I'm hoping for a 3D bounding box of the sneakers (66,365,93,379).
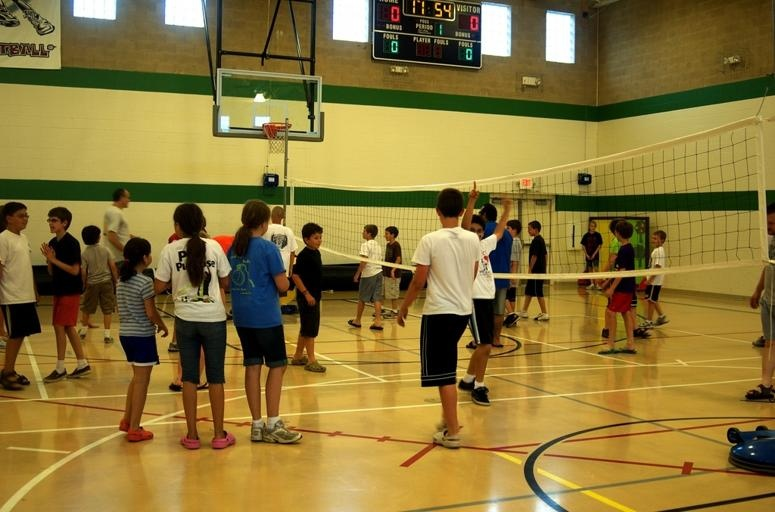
[{"bbox_3d":[-4.411,1.647,9.170,0.354,0.143,0.132,-10,5,2],"label":"sneakers"}]

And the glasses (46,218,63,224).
[{"bbox_3d":[-4.584,-0.476,8.860,0.207,0.077,0.082,2,9,8],"label":"glasses"}]

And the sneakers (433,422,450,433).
[{"bbox_3d":[0.620,2.061,7.742,0.108,0.082,0.111,1,-2,-22],"label":"sneakers"}]

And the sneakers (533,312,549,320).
[{"bbox_3d":[3.202,1.279,13.533,0.300,0.131,0.140,2,1,11],"label":"sneakers"}]

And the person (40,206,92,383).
[{"bbox_3d":[-4.631,0.497,9.201,0.563,2.387,0.861,-4,10,-26],"label":"person"}]

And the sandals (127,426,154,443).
[{"bbox_3d":[-2.826,2.042,7.381,0.266,0.117,0.137,-1,6,-23],"label":"sandals"}]

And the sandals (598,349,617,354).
[{"bbox_3d":[3.635,1.573,10.707,0.307,0.126,0.106,2,0,1],"label":"sandals"}]

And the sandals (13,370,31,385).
[{"bbox_3d":[-4.961,1.660,8.744,0.196,0.110,0.152,32,-9,4],"label":"sandals"}]

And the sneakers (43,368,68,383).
[{"bbox_3d":[-4.619,1.678,8.971,0.131,0.136,0.314,-3,-3,32],"label":"sneakers"}]

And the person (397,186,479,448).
[{"bbox_3d":[0.605,0.692,7.359,0.711,2.865,0.820,3,10,19],"label":"person"}]

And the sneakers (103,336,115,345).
[{"bbox_3d":[-4.745,1.441,10.980,0.082,0.100,0.216,1,2,3],"label":"sneakers"}]

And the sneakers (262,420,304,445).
[{"bbox_3d":[-1.212,2.013,7.409,0.513,0.258,0.206,3,3,2],"label":"sneakers"}]

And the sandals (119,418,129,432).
[{"bbox_3d":[-3.048,1.958,7.473,0.085,0.099,0.240,2,2,-10],"label":"sandals"}]

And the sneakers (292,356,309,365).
[{"bbox_3d":[-1.337,1.604,9.829,0.227,0.099,0.116,-5,0,-11],"label":"sneakers"}]

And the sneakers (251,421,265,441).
[{"bbox_3d":[-1.493,2.006,7.410,0.104,0.122,0.262,0,2,-2],"label":"sneakers"}]

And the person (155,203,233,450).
[{"bbox_3d":[-2.137,0.780,7.250,0.811,2.677,0.604,0,9,0],"label":"person"}]

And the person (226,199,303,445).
[{"bbox_3d":[-1.406,0.754,7.334,0.808,2.708,0.528,8,12,40],"label":"person"}]

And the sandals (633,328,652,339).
[{"bbox_3d":[4.684,1.435,11.895,0.181,0.217,0.498,-1,-8,4],"label":"sandals"}]

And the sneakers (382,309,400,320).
[{"bbox_3d":[0.046,1.275,13.777,0.473,0.204,0.175,3,-4,-2],"label":"sneakers"}]

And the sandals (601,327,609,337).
[{"bbox_3d":[3.935,1.402,11.747,0.124,0.150,0.376,-2,-9,12],"label":"sandals"}]

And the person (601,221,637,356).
[{"bbox_3d":[3.848,0.539,10.606,0.551,2.182,0.965,4,10,21],"label":"person"}]

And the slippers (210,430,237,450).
[{"bbox_3d":[-1.843,2.062,7.257,0.122,0.142,0.326,0,2,15],"label":"slippers"}]
